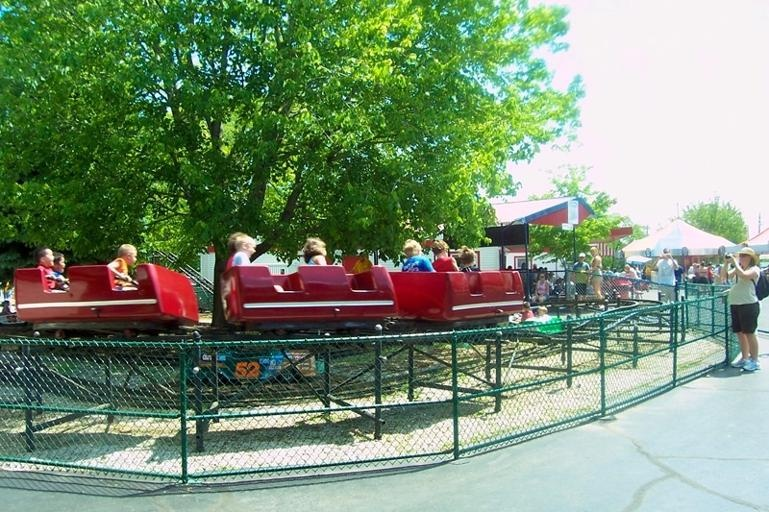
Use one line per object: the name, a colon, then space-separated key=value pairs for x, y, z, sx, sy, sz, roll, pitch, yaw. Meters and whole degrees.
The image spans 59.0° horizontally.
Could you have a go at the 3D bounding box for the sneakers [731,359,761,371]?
sneakers: x=6.898 y=2.050 z=12.898 sx=0.332 sy=0.127 sz=0.250 roll=2 pitch=-3 yaw=-6
